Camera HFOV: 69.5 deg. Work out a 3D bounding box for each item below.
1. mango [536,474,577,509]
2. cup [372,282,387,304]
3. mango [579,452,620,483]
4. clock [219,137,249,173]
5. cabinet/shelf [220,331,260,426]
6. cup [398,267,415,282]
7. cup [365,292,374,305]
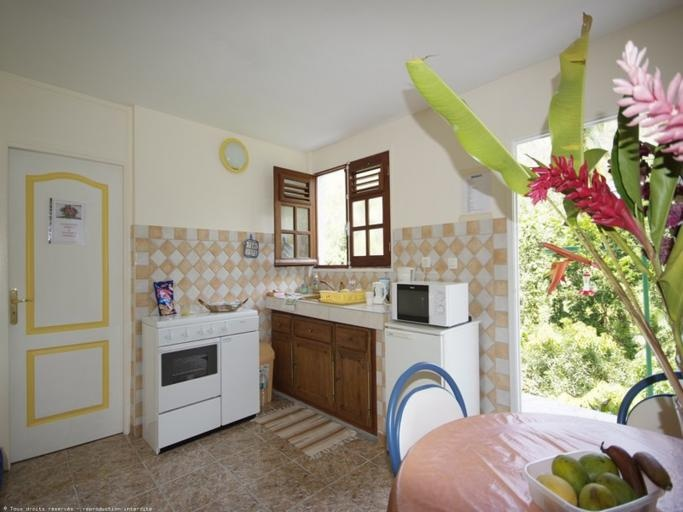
[{"bbox_3d":[1.006,1.074,2.288,0.139,0.090,0.089,9,33,43],"label":"mango"},{"bbox_3d":[0.363,0.350,4.777,0.175,0.259,0.133,4,-5,-22],"label":"cup"},{"bbox_3d":[1.196,0.962,2.281,0.123,0.133,0.125,15,-16,24],"label":"mango"},{"bbox_3d":[-1.154,-1.070,5.212,0.036,0.377,0.328,-5,-12,37],"label":"clock"},{"bbox_3d":[-0.955,1.130,4.629,0.474,0.788,0.175,-9,14,-40],"label":"cabinet/shelf"},{"bbox_3d":[0.630,0.169,4.821,0.131,0.145,0.133,0,3,0],"label":"cup"},{"bbox_3d":[0.271,0.407,4.795,0.089,0.118,0.096,2,-2,0],"label":"cup"}]
